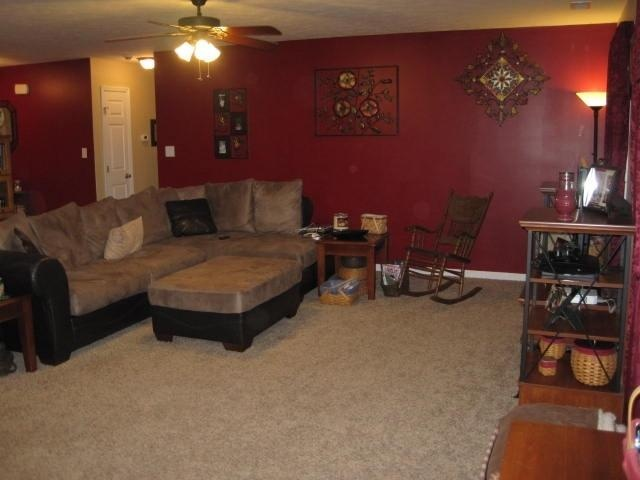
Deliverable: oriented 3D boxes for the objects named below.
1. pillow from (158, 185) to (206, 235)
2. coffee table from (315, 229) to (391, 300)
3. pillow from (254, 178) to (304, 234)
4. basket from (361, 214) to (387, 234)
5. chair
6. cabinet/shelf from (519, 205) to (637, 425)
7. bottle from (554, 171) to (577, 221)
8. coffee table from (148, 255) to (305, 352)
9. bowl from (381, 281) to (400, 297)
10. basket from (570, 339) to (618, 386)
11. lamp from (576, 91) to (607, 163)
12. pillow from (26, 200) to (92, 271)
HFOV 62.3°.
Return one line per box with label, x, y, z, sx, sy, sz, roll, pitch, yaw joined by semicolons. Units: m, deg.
pillow;-1.639;-0.366;6.206;0.560;0.552;0.168;-4;-5;7
coffee table;0.375;0.243;5.776;0.719;0.668;0.723;0;4;9
pillow;-0.482;-0.363;6.144;0.643;0.672;0.250;0;-3;6
basket;0.606;-0.177;5.942;0.326;0.228;0.212;3;4;34
chair;1.387;0.018;5.833;0.863;1.162;1.353;5;13;12
cabinet/shelf;1.613;0.401;3.437;0.711;1.161;1.049;7;14;20
bottle;1.513;-0.267;3.248;0.117;0.275;0.226;8;14;24
coffee table;-0.869;0.461;4.401;0.761;0.445;1.048;5;11;23
bowl;0.739;0.516;5.520;0.144;0.092;0.136;2;2;0
basket;1.656;0.734;3.281;0.266;0.249;0.263;0;5;0
lamp;2.856;-1.210;5.644;0.300;0.752;0.513;9;15;26
pillow;-2.292;-0.032;4.706;0.161;0.525;0.554;-21;9;16
